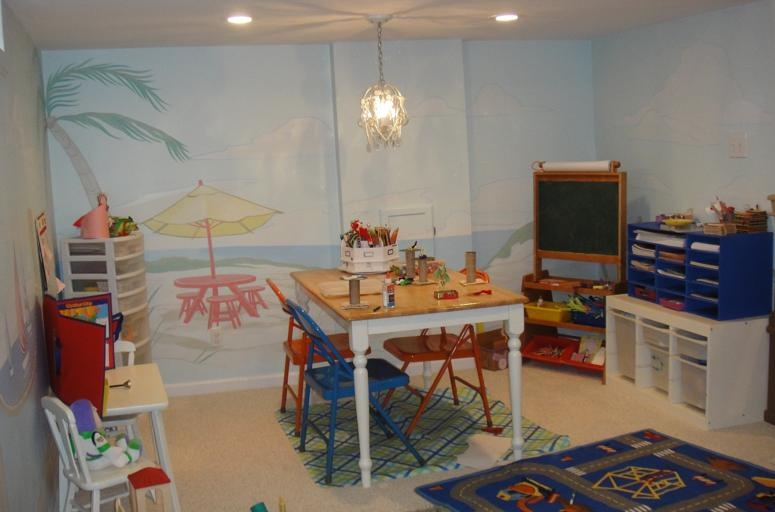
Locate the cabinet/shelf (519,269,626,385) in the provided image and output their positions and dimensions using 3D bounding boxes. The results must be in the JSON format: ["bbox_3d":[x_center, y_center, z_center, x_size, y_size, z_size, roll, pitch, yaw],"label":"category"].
[{"bbox_3d":[1.785,0.711,5.660,1.032,0.967,0.560,3,4,43],"label":"cabinet/shelf"}]

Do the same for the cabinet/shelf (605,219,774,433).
[{"bbox_3d":[2.529,0.592,4.795,0.758,1.791,1.579,-2,5,-19],"label":"cabinet/shelf"}]

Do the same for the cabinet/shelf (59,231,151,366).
[{"bbox_3d":[-2.353,0.408,4.977,0.658,1.183,0.348,-9,15,-24],"label":"cabinet/shelf"}]

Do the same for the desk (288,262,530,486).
[{"bbox_3d":[0.126,0.406,4.533,1.388,1.177,2.046,-4,8,-18],"label":"desk"}]

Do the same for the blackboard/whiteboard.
[{"bbox_3d":[1.886,-0.410,5.613,0.847,0.732,0.149,1,3,36],"label":"blackboard/whiteboard"}]

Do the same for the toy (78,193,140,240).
[{"bbox_3d":[-2.399,-0.346,5.071,0.517,0.373,0.327,-6,11,-41],"label":"toy"}]

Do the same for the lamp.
[{"bbox_3d":[-0.044,-1.484,5.163,0.460,1.102,1.176,-3,14,1],"label":"lamp"}]
